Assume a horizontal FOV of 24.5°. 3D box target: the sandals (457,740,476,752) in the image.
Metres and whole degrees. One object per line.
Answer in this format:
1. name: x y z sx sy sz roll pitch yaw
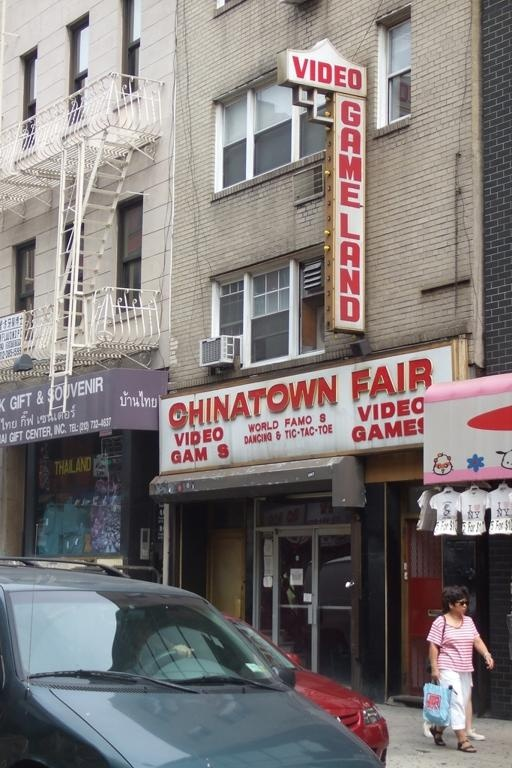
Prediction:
1. sandals: 1.703 2.913 9.504 0.064 0.069 0.157 0 -16 -15

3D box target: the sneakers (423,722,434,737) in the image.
1. sneakers: 1.484 2.973 10.161 0.076 0.094 0.218 -7 -11 -5

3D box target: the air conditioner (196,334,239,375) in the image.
1. air conditioner: -0.496 -0.432 15.981 0.390 0.390 0.614 8 8 -41

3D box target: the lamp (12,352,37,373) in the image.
1. lamp: -3.602 -0.301 18.284 0.247 0.344 0.330 11 -17 -31

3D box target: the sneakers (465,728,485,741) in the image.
1. sneakers: 1.883 3.009 10.139 0.185 0.108 0.077 2 -3 16

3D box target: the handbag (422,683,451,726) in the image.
1. handbag: 1.453 2.550 9.421 0.098 0.390 0.335 11 -17 -30
